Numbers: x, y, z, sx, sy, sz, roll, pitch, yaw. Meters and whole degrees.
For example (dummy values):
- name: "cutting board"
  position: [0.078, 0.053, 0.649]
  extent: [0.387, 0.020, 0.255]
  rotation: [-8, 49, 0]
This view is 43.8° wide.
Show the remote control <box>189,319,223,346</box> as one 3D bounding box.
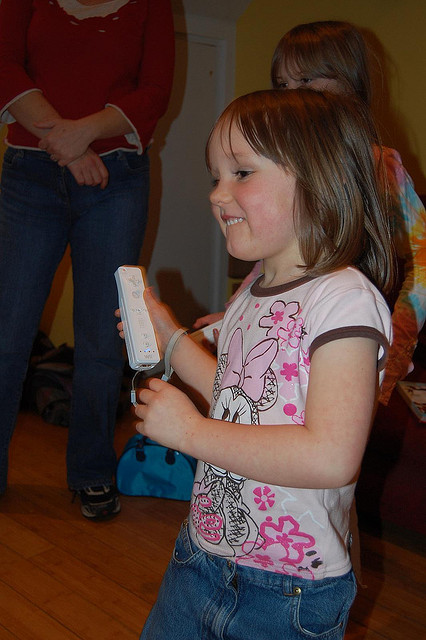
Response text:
- name: "remote control"
  position: [-0.009, 0.027, 1.041]
  extent: [0.044, 0.016, 0.057]
  rotation: [-20, -6, -30]

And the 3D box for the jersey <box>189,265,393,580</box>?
- name: "jersey"
  position: [0.119, 0.115, 0.690]
  extent: [0.218, 0.387, 0.329]
  rotation: [-4, 4, -12]

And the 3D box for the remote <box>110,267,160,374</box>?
- name: "remote"
  position: [-0.135, -0.005, 0.827]
  extent: [0.039, 0.164, 0.088]
  rotation: [-25, -20, 39]
